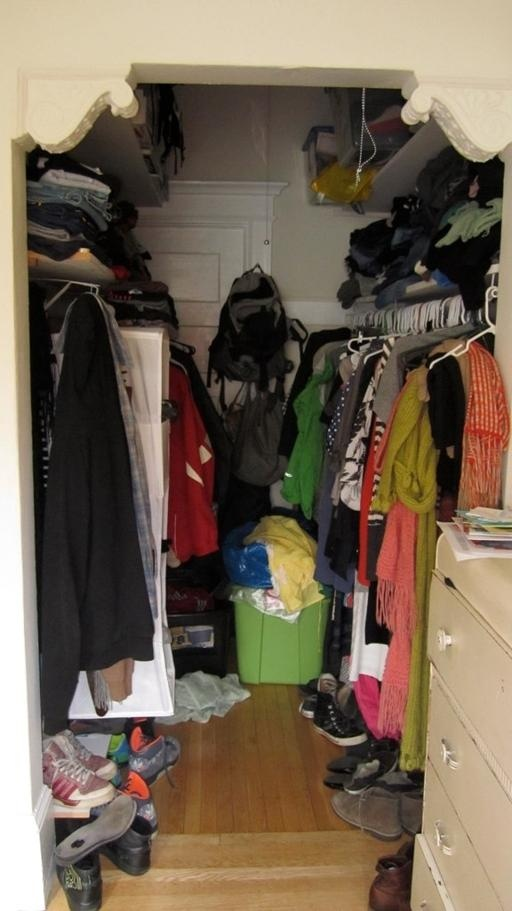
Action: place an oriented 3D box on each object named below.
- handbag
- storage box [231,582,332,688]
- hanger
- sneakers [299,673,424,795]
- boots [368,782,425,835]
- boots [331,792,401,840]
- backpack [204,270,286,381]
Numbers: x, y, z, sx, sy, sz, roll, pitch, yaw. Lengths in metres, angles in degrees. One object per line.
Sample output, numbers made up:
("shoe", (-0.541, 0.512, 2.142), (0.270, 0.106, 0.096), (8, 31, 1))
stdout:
("handbag", (-0.005, -0.092, 3.030), (0.273, 0.465, 0.182), (0, 7, -3))
("storage box", (0.099, 0.748, 2.829), (0.399, 0.457, 0.300), (0, 2, -2))
("hanger", (0.527, -0.423, 2.086), (0.135, 0.190, 0.515), (-4, 10, -26))
("sneakers", (0.324, 0.941, 2.257), (0.155, 0.214, 0.535), (-20, -5, -10))
("boots", (0.398, 1.003, 1.906), (0.067, 0.097, 0.213), (-2, 6, 1))
("boots", (0.323, 1.000, 1.899), (0.075, 0.097, 0.195), (1, 0, -27))
("backpack", (-0.040, -0.579, 3.000), (0.345, 0.541, 0.190), (0, 7, -5))
